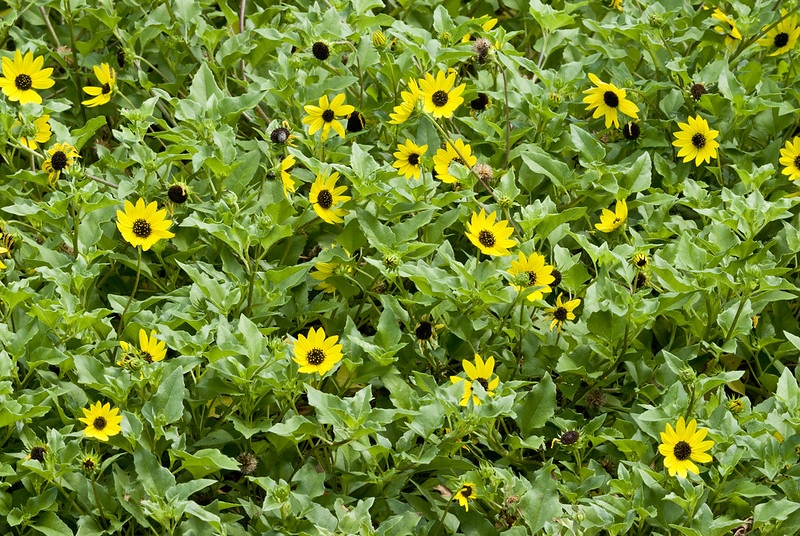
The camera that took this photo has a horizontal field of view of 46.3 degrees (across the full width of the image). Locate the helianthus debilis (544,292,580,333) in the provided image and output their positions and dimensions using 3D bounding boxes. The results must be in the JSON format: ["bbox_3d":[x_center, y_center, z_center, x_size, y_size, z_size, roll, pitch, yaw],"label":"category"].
[{"bbox_3d":[0.720,0.197,4.130,0.106,0.225,0.128,32,55,10],"label":"helianthus debilis"}]

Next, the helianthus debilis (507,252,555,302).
[{"bbox_3d":[0.573,0.024,4.053,0.200,0.056,0.206,-31,82,-14],"label":"helianthus debilis"}]

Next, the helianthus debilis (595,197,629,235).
[{"bbox_3d":[0.999,-0.247,4.372,0.085,0.147,0.149,36,35,-9],"label":"helianthus debilis"}]

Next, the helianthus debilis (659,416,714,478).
[{"bbox_3d":[1.123,0.728,3.710,0.228,0.221,0.078,-24,96,-33],"label":"helianthus debilis"}]

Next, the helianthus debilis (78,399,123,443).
[{"bbox_3d":[-1.162,0.604,3.648,0.159,0.080,0.134,31,55,6],"label":"helianthus debilis"}]

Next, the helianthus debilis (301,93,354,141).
[{"bbox_3d":[-0.340,-0.699,4.444,0.222,0.231,0.206,-9,59,-20],"label":"helianthus debilis"}]

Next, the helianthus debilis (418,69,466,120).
[{"bbox_3d":[0.182,-0.797,4.330,0.211,0.090,0.239,14,90,-3],"label":"helianthus debilis"}]

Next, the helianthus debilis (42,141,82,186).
[{"bbox_3d":[-1.578,-0.488,4.436,0.192,0.070,0.187,-50,48,0],"label":"helianthus debilis"}]

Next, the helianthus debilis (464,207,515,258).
[{"bbox_3d":[0.400,-0.147,4.103,0.198,0.097,0.220,16,71,-14],"label":"helianthus debilis"}]

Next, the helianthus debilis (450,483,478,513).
[{"bbox_3d":[0.255,0.925,3.754,0.103,0.033,0.120,-2,102,-42],"label":"helianthus debilis"}]
